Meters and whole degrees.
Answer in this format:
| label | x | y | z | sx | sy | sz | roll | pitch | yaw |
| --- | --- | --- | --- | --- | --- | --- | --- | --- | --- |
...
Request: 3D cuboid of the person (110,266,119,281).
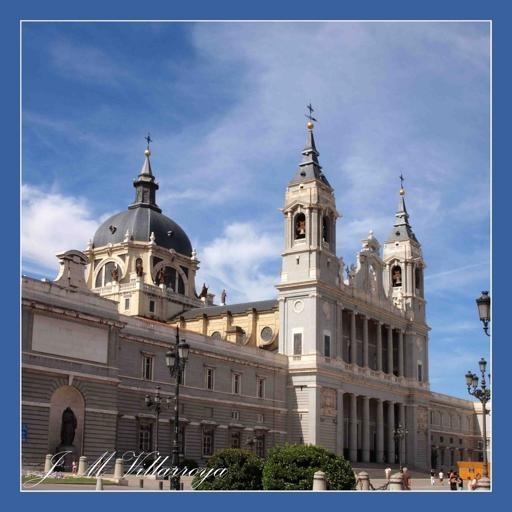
| label | x | y | z | sx | sy | sz | roll | pitch | yaw |
| --- | --- | --- | --- | --- | --- | --- | --- | --- | --- |
| person | -10.650 | 1.411 | 89.638 | 0.347 | 1.207 | 0.938 | -7 | -13 | 41 |
